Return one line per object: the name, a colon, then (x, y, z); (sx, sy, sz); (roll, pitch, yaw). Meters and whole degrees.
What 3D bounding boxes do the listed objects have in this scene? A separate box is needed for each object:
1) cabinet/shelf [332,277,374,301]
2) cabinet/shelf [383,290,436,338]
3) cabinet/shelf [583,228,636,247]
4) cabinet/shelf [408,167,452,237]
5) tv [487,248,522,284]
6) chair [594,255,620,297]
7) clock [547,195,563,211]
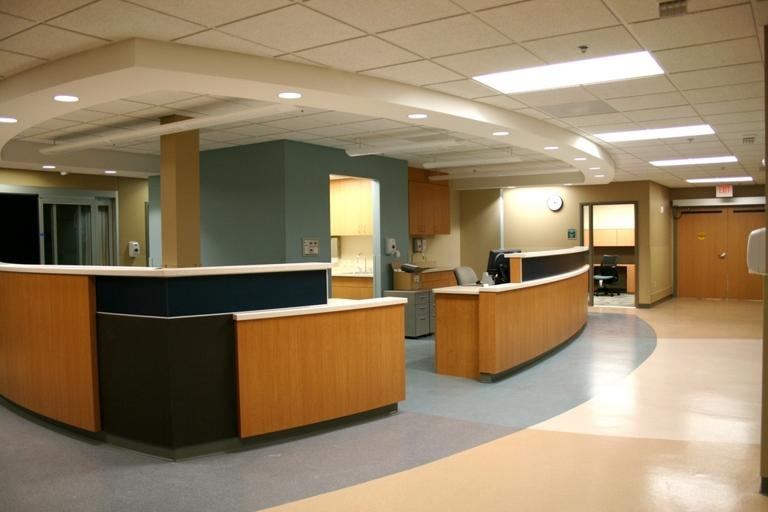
cabinet/shelf: (-0.649, 0.635, 10.840); (0.844, 0.564, 0.459); (-1, -1, 37)
cabinet/shelf: (0.609, 1.112, 10.687); (0.719, 0.875, 0.968); (0, 2, 39)
cabinet/shelf: (7.092, -0.551, 16.803); (1.155, 0.593, 0.516); (1, 5, 15)
cabinet/shelf: (1.292, -1.248, 12.575); (0.660, 1.449, 1.830); (-8, 11, -24)
tv: (1.905, 0.178, 8.629); (0.560, 0.514, 0.295); (-3, 6, -43)
chair: (6.662, 0.543, 16.429); (0.786, 1.087, 0.742); (2, 6, 27)
clock: (4.451, -1.370, 14.141); (0.398, 0.429, 0.058); (3, -3, 34)
